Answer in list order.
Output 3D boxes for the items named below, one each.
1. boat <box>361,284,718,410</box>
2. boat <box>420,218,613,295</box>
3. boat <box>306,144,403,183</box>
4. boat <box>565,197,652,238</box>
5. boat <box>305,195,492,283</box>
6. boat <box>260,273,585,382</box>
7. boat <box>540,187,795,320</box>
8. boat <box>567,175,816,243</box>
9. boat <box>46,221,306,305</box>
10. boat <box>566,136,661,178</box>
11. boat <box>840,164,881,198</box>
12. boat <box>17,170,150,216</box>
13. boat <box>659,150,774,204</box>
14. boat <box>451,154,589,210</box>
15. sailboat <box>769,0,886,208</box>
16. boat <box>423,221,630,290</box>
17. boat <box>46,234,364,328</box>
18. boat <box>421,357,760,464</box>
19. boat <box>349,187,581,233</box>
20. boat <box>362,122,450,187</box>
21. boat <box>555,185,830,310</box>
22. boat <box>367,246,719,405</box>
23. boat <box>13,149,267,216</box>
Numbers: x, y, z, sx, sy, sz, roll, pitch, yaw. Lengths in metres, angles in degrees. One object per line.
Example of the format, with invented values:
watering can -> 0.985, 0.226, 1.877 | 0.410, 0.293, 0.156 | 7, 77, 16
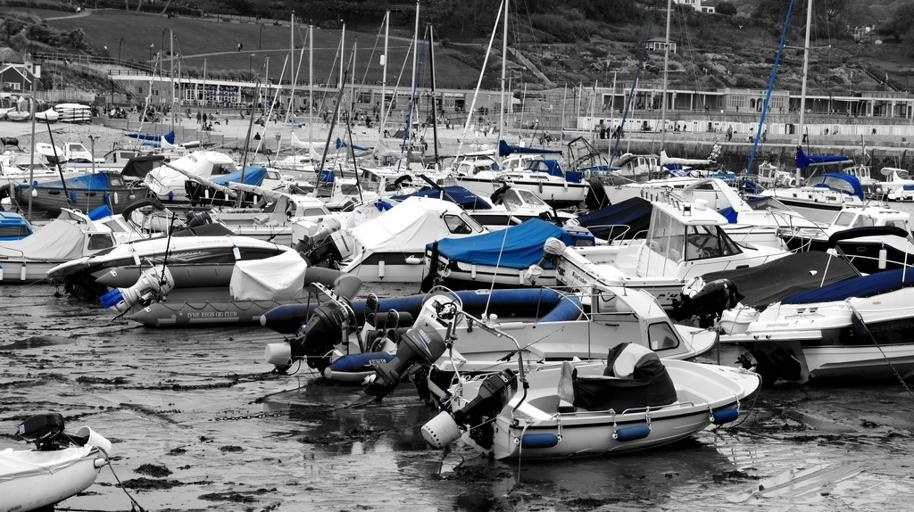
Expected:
boat -> 2.998, 2.330, 39.245 | 8.288, 2.129, 4.432 | -3, 16, -9
boat -> 2.133, -0.096, 44.500 | 6.296, 1.955, 3.094 | -5, 18, -16
boat -> -4.644, -3.849, 57.464 | 4.078, 1.264, 2.181 | -3, 15, -13
boat -> 6.006, -1.370, 47.164 | 2.432, 0.849, 1.535 | -2, 48, -1
boat -> -1.283, -0.739, 46.555 | 8.906, 2.752, 5.375 | -1, 17, -3
boat -> -1.450, 2.121, 40.196 | 8.878, 2.175, 3.944 | -4, 16, -17
boat -> 7.159, -0.016, 42.675 | 8.603, 2.820, 3.743 | -5, 23, -9
boat -> 10.293, -1.779, 47.810 | 10.908, 3.123, 3.179 | 2, 2, -3
boat -> -9.861, 0.702, 43.912 | 8.304, 2.338, 3.020 | -9, 17, -15
boat -> 7.562, -4.224, 58.706 | 4.891, 1.879, 1.997 | -9, 12, -26
boat -> 18.875, -3.460, 57.582 | 1.361, 1.527, 3.599 | -1, -1, 12
boat -> -15.797, -2.650, 52.573 | 4.797, 1.497, 2.451 | -2, 6, -19
boat -> 11.156, -3.154, 54.716 | 1.552, 1.962, 6.619 | 0, 6, -36
boat -> 2.525, -3.000, 54.471 | 6.065, 1.863, 2.324 | 5, 10, 0
sailboat -> 16.345, -7.131, 56.803 | 3.879, 9.471, 20.879 | 0, 5, 16
boat -> 2.198, -0.106, 44.659 | 6.984, 2.075, 3.465 | -3, 16, -14
boat -> -7.654, 1.398, 42.898 | 7.731, 1.935, 4.442 | -1, 6, -16
boat -> 4.413, 4.732, 37.770 | 10.724, 2.019, 4.134 | -4, 18, -14
boat -> 0.838, -1.224, 48.547 | 9.750, 2.174, 2.704 | 0, 12, -11
boat -> -2.563, -4.161, 56.736 | 2.818, 1.803, 4.551 | 0, 5, -5
boat -> 7.867, 0.028, 42.909 | 8.429, 2.870, 3.704 | -5, 20, -11
boat -> 2.662, 2.208, 39.455 | 8.377, 2.370, 4.465 | -1, 17, -9
boat -> -12.814, -2.757, 54.128 | 12.826, 2.742, 3.749 | 1, 5, -4
